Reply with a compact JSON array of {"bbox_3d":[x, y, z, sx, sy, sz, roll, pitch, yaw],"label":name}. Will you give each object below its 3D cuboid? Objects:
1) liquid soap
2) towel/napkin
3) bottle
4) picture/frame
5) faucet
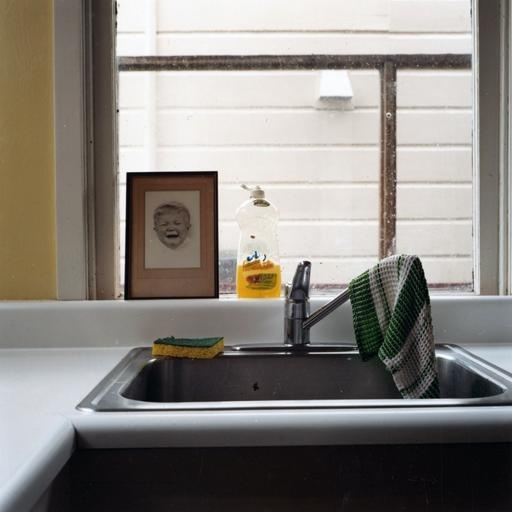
[{"bbox_3d":[0.005,-0.019,1.594,0.097,0.217,0.122,1,3,-3],"label":"liquid soap"},{"bbox_3d":[0.274,0.157,1.350,0.146,0.334,0.066,-10,15,3],"label":"towel/napkin"},{"bbox_3d":[0.008,-0.017,1.616,0.092,0.319,0.073,-1,-29,0],"label":"bottle"},{"bbox_3d":[-0.189,-0.049,1.578,0.206,0.341,0.010,-3,36,-12],"label":"picture/frame"},{"bbox_3d":[0.140,0.100,1.423,0.150,0.200,0.049,7,26,9],"label":"faucet"}]
